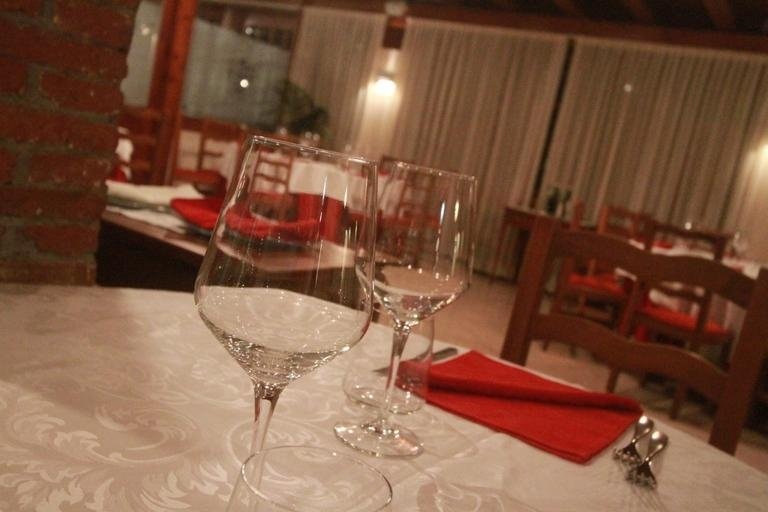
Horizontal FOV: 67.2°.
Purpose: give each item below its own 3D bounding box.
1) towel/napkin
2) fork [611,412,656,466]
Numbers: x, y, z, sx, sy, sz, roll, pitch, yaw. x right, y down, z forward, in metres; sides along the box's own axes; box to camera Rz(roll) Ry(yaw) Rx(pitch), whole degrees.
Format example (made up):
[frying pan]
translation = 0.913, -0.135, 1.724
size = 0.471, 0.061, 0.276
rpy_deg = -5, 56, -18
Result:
[towel/napkin]
translation = 0.170, 0.186, 0.710
size = 0.166, 0.024, 0.167
rpy_deg = 14, 11, 30
[fork]
translation = 0.299, 0.213, 0.688
size = 0.029, 0.010, 0.091
rpy_deg = 13, 13, 21
